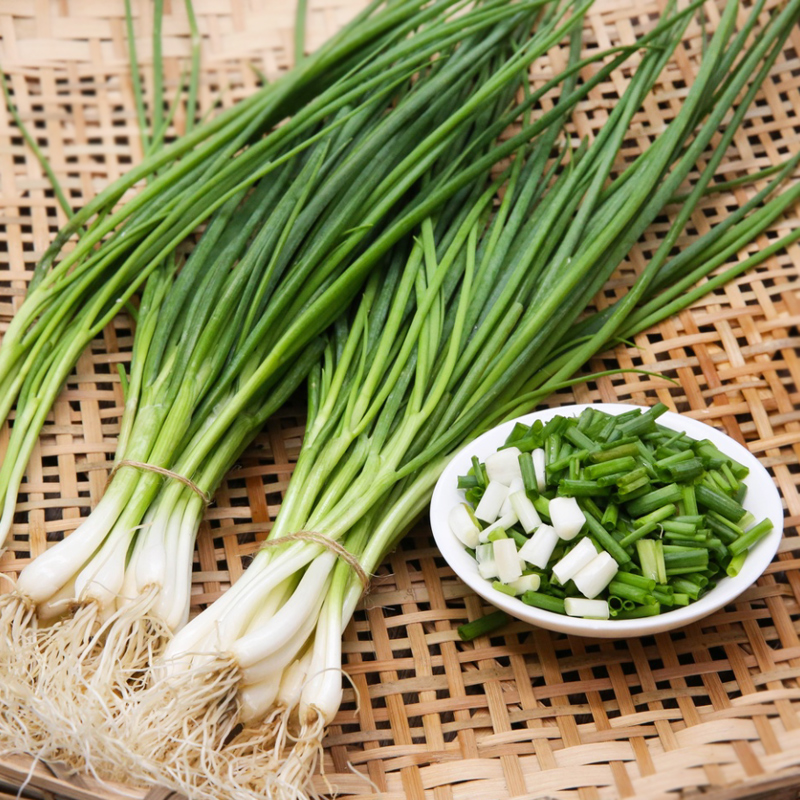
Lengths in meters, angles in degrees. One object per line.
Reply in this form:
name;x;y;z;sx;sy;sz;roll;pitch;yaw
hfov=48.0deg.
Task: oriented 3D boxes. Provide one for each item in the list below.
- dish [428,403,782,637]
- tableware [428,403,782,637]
dish;0.265;0.177;1.218;0.446;0.088;0.372;8;41;12
tableware;0.266;0.177;1.221;0.446;0.088;0.372;8;41;12
